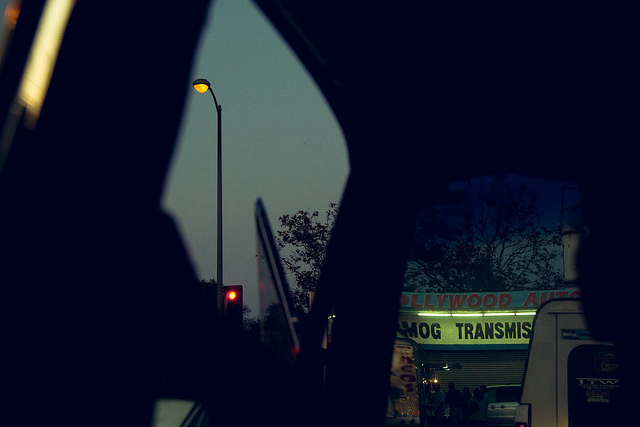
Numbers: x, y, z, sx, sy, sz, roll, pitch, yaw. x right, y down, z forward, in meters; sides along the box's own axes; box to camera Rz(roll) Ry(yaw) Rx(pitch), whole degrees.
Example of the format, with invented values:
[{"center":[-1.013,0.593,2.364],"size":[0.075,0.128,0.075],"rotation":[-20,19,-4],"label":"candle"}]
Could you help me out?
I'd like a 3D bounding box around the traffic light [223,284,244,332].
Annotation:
[{"center":[-2.269,2.435,18.756],"size":[0.581,1.124,0.573],"rotation":[5,-16,-8],"label":"traffic light"}]
